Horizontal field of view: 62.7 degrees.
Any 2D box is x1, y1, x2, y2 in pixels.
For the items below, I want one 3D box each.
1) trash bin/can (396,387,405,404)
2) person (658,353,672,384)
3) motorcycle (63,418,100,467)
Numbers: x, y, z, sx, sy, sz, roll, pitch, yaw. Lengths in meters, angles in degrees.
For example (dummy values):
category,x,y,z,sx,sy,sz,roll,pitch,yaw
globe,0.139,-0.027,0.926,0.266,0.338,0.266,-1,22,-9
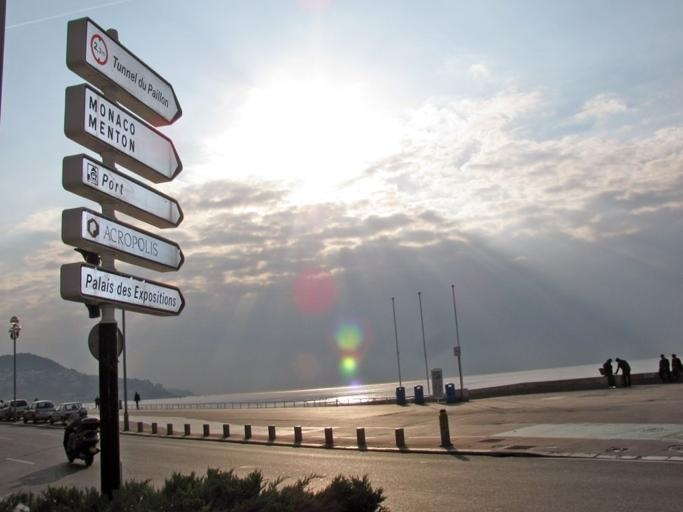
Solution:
category,x,y,z,sx,sy,sz,roll,pitch,yaw
trash bin/can,4.954,11.609,46.379,0.691,1.431,3.019,-5,-15,4
person,19.484,6.927,33.808,0.665,1.413,2.124,-11,-16,27
motorcycle,-9.825,7.102,21.426,0.982,1.768,2.375,5,-17,-31
